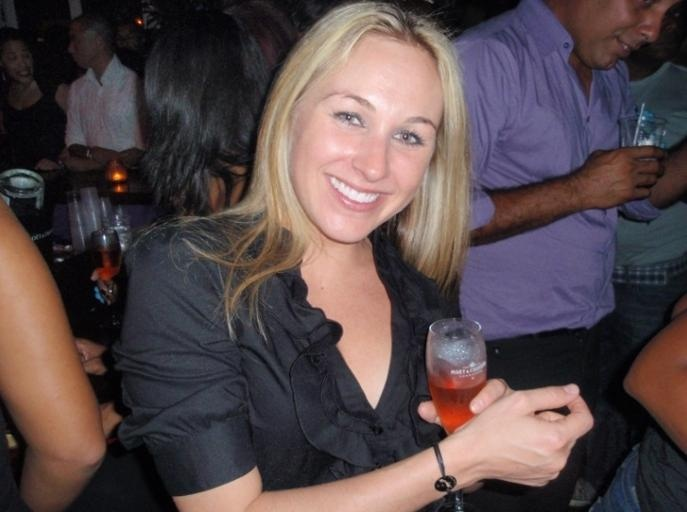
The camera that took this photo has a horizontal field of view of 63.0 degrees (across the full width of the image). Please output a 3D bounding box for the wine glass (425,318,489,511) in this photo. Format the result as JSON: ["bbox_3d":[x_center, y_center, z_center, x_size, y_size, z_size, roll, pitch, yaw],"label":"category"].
[{"bbox_3d":[0.392,0.454,2.012,0.216,0.384,0.311,6,21,28],"label":"wine glass"}]

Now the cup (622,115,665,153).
[{"bbox_3d":[1.604,-0.668,3.045,0.226,0.155,0.219,-7,12,1],"label":"cup"}]
